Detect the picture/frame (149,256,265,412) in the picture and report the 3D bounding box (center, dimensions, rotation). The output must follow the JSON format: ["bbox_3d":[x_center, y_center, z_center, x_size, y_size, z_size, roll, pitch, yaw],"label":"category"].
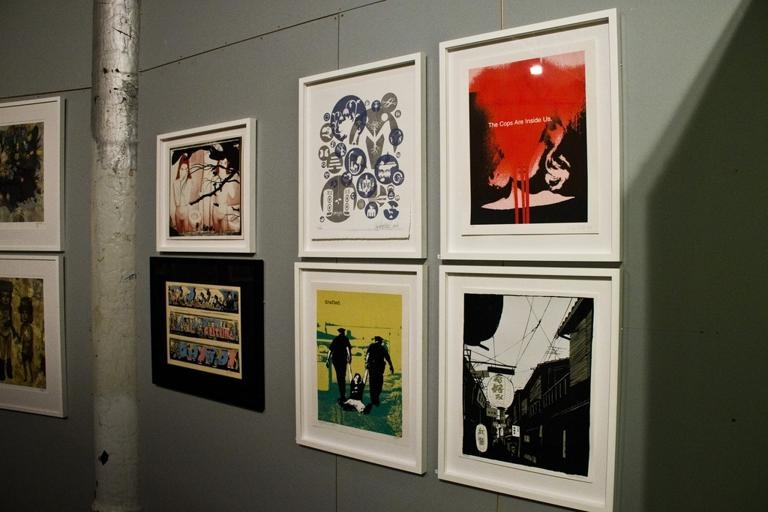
[{"bbox_3d":[-0.805,0.361,3.104,0.663,0.696,0.029,3,5,30],"label":"picture/frame"}]

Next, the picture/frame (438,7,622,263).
[{"bbox_3d":[0.593,-0.468,2.558,0.915,1.311,0.053,0,0,24],"label":"picture/frame"}]
